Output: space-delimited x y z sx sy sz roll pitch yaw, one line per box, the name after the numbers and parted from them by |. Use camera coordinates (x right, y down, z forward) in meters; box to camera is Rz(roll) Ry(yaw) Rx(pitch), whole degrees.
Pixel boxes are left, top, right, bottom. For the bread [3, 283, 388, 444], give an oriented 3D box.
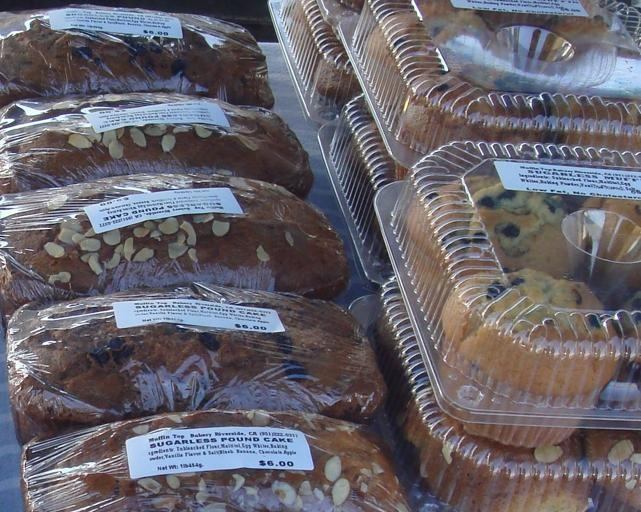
-0.187 0.153 1.018 0.470 0.120 0.229 1 41 -20 | bread
